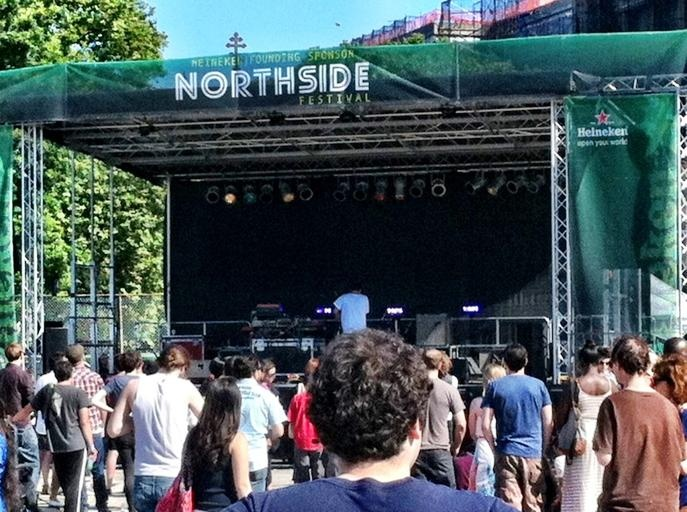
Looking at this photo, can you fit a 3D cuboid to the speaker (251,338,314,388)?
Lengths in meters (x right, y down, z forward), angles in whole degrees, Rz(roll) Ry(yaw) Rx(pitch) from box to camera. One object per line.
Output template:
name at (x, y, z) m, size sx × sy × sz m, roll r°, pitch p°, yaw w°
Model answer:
speaker at (-1.002, 2.023, 24.237) m, size 1.179 × 0.888 × 0.699 m, roll -1°, pitch -8°, yaw 8°

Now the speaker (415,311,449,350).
speaker at (1.606, 1.286, 24.769) m, size 0.539 × 0.561 × 0.560 m, roll -1°, pitch -9°, yaw 9°

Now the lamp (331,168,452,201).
lamp at (0.913, -1.380, 26.536) m, size 2.170 × 0.495 × 0.787 m, roll -2°, pitch -6°, yaw 10°

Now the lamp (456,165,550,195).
lamp at (3.036, -1.441, 26.113) m, size 1.634 × 0.524 × 0.824 m, roll -2°, pitch -6°, yaw 7°

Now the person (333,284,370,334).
person at (0.162, 0.851, 22.827) m, size 0.812 × 1.059 × 0.395 m, roll -1°, pitch -9°, yaw 6°
